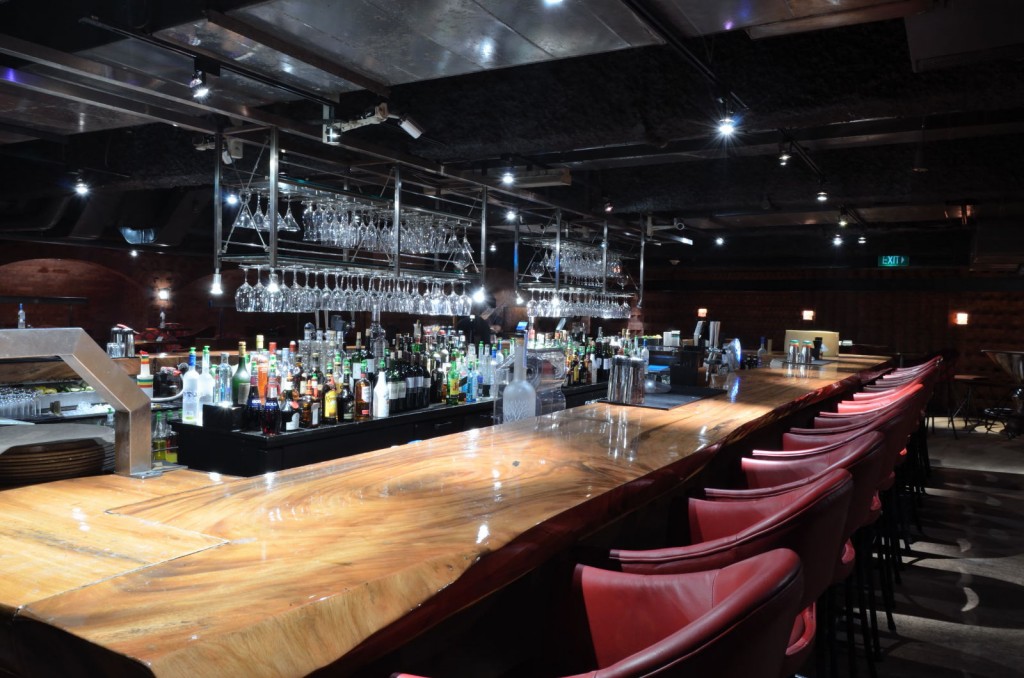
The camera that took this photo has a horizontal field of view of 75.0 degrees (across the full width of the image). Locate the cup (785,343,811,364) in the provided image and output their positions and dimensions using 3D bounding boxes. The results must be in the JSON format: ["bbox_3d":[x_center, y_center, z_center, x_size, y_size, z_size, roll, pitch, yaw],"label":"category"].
[{"bbox_3d":[3.202,0.168,7.428,0.247,0.221,0.180,-1,-1,32],"label":"cup"}]
